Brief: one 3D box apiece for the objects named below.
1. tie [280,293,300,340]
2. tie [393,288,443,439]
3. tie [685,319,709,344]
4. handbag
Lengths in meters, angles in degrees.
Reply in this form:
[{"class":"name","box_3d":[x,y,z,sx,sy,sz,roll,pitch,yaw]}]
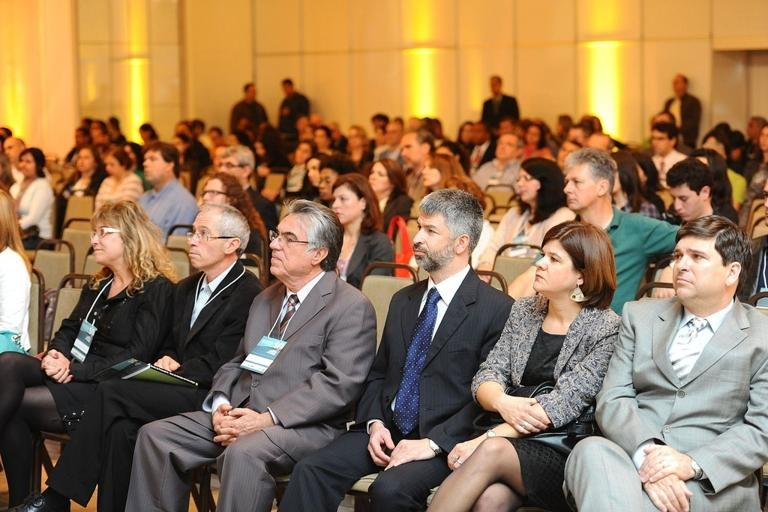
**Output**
[{"class":"tie","box_3d":[-0.519,0.317,3.538,0.068,0.043,0.303,30,49,-6]},{"class":"tie","box_3d":[0.170,0.533,3.298,0.140,0.718,0.267,5,9,43]},{"class":"tie","box_3d":[1.371,0.326,2.849,0.091,0.102,0.031,1,7,22]},{"class":"handbag","box_3d":[0.789,0.788,2.963,0.371,0.164,0.390,10,-29,-3]}]
